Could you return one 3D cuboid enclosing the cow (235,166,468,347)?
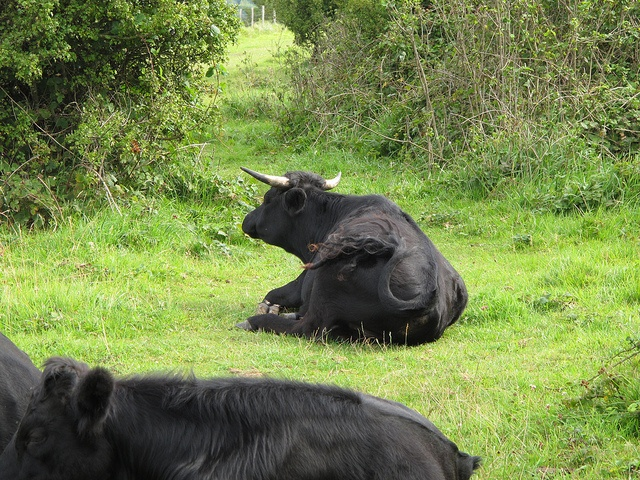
[{"bbox_3d":[0.242,0.398,9.549,1.779,1.316,2.432,9,8,-39],"label":"cow"}]
